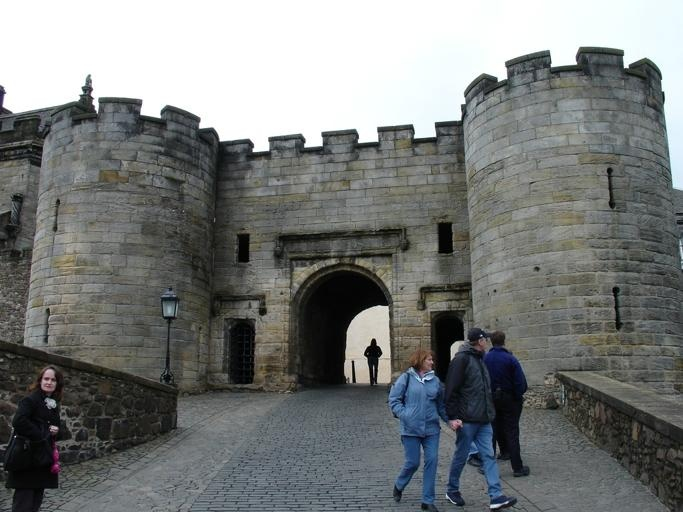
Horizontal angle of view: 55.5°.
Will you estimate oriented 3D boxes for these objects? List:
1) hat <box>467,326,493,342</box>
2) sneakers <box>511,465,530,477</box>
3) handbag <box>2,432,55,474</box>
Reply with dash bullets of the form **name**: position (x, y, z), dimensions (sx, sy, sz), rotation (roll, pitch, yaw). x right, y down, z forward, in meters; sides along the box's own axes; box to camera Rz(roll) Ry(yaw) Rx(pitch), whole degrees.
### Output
- **hat**: position (1.849, 1.032, 8.647), dimensions (0.453, 0.193, 0.262), rotation (-2, 1, -33)
- **sneakers**: position (2.542, 3.056, 9.221), dimensions (0.300, 0.099, 0.105), rotation (-4, 3, -37)
- **handbag**: position (-3.417, 2.175, 7.152), dimensions (0.597, 0.456, 0.316), rotation (5, -18, -32)
